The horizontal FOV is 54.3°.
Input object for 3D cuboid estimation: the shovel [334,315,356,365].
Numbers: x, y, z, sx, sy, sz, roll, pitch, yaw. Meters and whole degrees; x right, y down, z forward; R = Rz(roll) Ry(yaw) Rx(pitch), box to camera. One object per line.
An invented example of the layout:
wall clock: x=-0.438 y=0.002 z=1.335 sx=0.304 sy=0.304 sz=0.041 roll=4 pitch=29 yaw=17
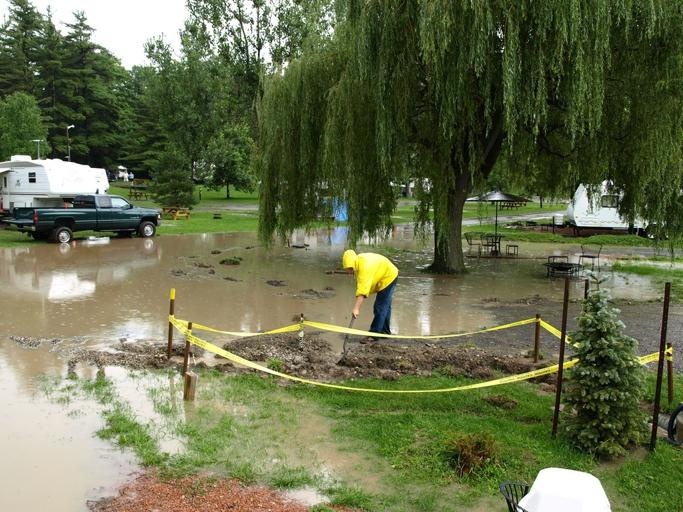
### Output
shovel: x=0.065 y=1.715 z=13.198 sx=0.172 sy=1.330 sz=0.180 roll=12 pitch=46 yaw=-4

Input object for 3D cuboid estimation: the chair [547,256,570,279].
chair: x=7.511 y=0.407 z=23.119 sx=0.642 sy=0.537 sz=0.803 roll=1 pitch=4 yaw=14

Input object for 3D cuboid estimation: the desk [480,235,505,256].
desk: x=6.985 y=-0.471 z=30.813 sx=0.735 sy=1.156 sz=0.812 roll=4 pitch=15 yaw=22

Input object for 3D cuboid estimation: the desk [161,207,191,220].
desk: x=-11.078 y=-2.864 z=44.217 sx=1.513 sy=0.726 sz=3.717 roll=-2 pitch=11 yaw=-20

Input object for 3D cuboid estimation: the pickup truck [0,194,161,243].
pickup truck: x=-11.033 y=-1.647 z=29.426 sx=1.052 sy=2.113 sz=6.094 roll=8 pitch=12 yaw=35

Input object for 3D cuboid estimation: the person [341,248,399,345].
person: x=0.570 y=0.802 z=13.648 sx=0.655 sy=1.805 sz=1.346 roll=10 pitch=13 yaw=43
